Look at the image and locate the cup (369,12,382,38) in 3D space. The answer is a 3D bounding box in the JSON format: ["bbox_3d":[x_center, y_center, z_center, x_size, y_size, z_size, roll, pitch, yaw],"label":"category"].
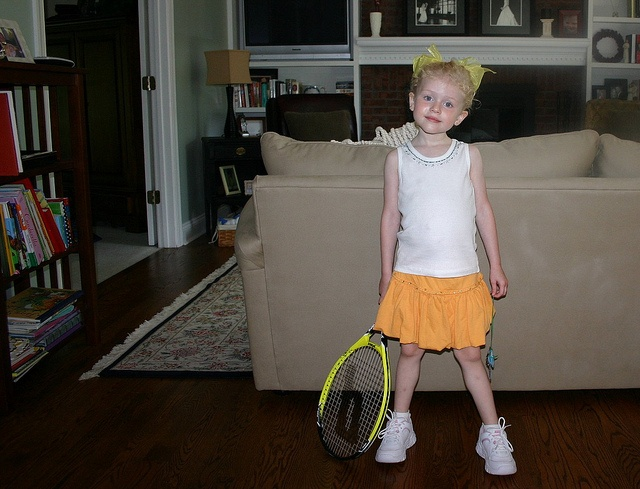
[{"bbox_3d":[0.557,-2.204,5.091,0.108,0.249,0.246,0,14,7],"label":"cup"}]

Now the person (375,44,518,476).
[{"bbox_3d":[0.405,0.033,1.586,0.445,1.269,0.382,1,14,10],"label":"person"}]

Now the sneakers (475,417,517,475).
[{"bbox_3d":[0.544,0.623,1.586,0.068,0.096,0.184,-1,10,3],"label":"sneakers"}]

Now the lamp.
[{"bbox_3d":[-0.816,-1.357,4.556,0.385,0.751,0.339,-5,14,-17],"label":"lamp"}]

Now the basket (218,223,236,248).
[{"bbox_3d":[-0.744,-0.073,4.036,0.152,0.165,0.162,0,15,-3],"label":"basket"}]

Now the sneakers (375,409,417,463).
[{"bbox_3d":[0.243,0.607,1.630,0.074,0.102,0.200,-1,1,17],"label":"sneakers"}]

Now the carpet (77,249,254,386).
[{"bbox_3d":[-0.649,0.439,2.518,0.394,0.048,1.066,1,12,4],"label":"carpet"}]

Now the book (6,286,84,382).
[{"bbox_3d":[-1.234,0.391,2.197,0.229,0.104,0.330,-1,19,2],"label":"book"}]

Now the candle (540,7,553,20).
[{"bbox_3d":[2.300,-2.329,5.105,0.124,0.118,0.140,5,15,22],"label":"candle"}]

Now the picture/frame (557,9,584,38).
[{"bbox_3d":[2.543,-2.235,5.113,0.295,0.397,0.026,1,1,5],"label":"picture/frame"}]
